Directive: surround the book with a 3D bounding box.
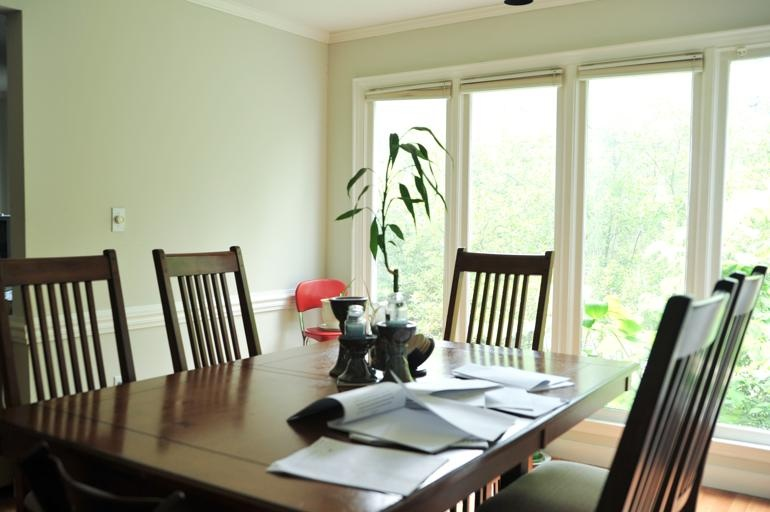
[{"bbox_3d":[0.050,0.448,1.491,0.260,0.098,0.412,-5,9,-44],"label":"book"}]
